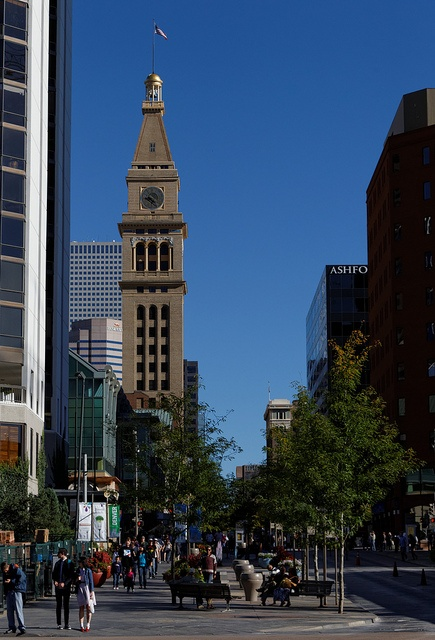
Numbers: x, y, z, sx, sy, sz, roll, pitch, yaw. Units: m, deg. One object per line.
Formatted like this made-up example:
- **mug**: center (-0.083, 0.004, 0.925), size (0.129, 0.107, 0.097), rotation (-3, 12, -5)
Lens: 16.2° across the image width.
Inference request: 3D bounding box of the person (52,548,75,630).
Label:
- **person**: center (-4.352, 7.442, 42.337), size (0.638, 2.264, 0.541), rotation (2, 0, -30)

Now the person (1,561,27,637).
- **person**: center (-5.368, 7.332, 40.100), size (0.485, 1.775, 0.742), rotation (4, -7, -10)

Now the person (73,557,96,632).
- **person**: center (-3.574, 7.359, 41.152), size (0.466, 2.035, 0.369), rotation (0, -14, -4)
